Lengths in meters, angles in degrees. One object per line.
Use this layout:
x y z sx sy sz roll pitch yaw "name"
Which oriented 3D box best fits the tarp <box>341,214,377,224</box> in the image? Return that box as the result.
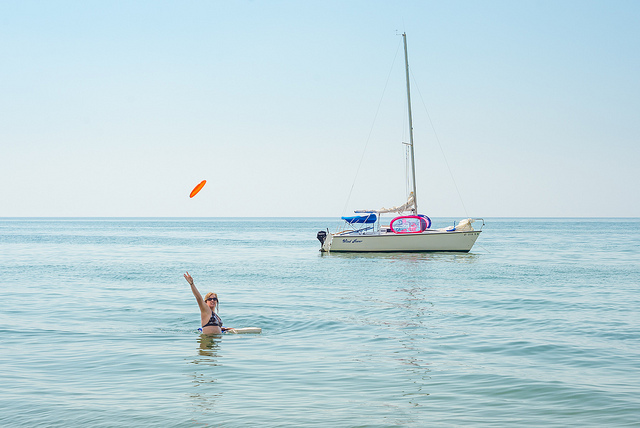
3.078 0.383 67.597 1.808 0.375 0.988 4 -1 12 "tarp"
